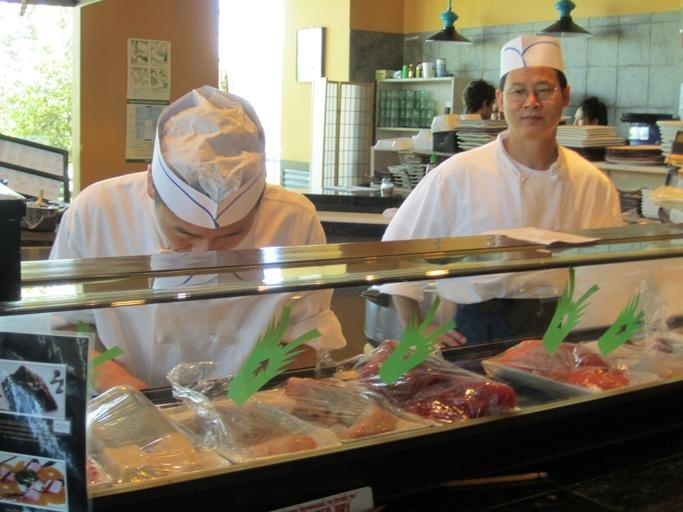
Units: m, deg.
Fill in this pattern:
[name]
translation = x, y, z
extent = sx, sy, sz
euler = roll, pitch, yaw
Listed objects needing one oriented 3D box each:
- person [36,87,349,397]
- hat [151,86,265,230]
[person]
translation = -0.321, -0.022, 1.316
extent = 0.751, 0.597, 0.391
euler = 5, 20, -7
[hat]
translation = -0.268, -0.195, 1.168
extent = 0.243, 0.304, 0.116
euler = -5, -16, -21
